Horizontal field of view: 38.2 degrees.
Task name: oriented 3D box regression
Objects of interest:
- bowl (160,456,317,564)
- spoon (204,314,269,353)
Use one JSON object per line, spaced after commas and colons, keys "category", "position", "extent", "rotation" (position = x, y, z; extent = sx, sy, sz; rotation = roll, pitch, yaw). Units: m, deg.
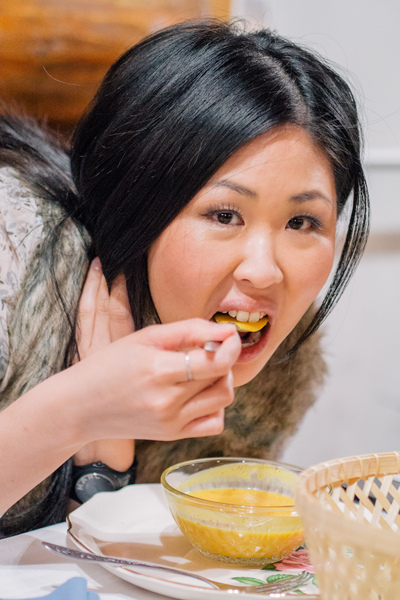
{"category": "bowl", "position": [0.049, 0.278, 0.752], "extent": [0.195, 0.075, 0.180], "rotation": [9, -3, 0]}
{"category": "spoon", "position": [0.053, 0.044, 0.819], "extent": [0.068, 0.029, 0.077], "rotation": [0, 13, -8]}
